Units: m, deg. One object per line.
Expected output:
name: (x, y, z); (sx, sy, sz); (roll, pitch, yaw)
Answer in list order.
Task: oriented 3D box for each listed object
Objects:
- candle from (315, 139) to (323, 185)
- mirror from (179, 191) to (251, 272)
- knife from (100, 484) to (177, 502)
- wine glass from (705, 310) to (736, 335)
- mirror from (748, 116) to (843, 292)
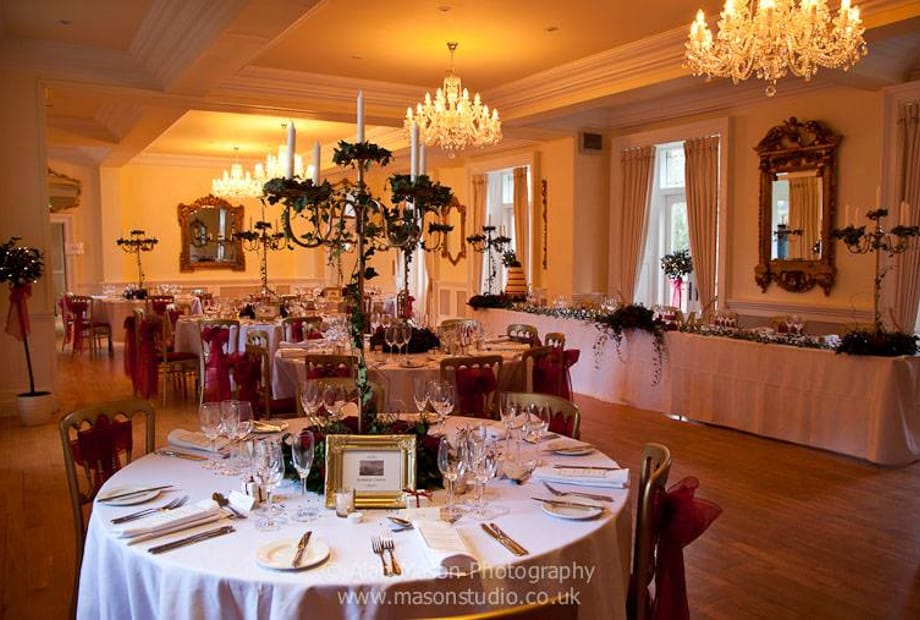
candle: (-0.759, -0.789, 3.464); (0.039, 0.223, 0.216); (-3, 11, -14)
mirror: (-5.843, -1.885, 15.248); (1.680, 2.205, 0.133); (-2, 4, -35)
knife: (-1.783, 0.999, 3.565); (0.215, 0.026, 0.139); (1, 1, -28)
wine glass: (3.192, 0.142, 7.928); (0.250, 0.304, 0.251); (-7, 9, -34)
mirror: (4.550, -1.419, 8.855); (1.059, 2.338, 0.387); (7, 13, 37)
